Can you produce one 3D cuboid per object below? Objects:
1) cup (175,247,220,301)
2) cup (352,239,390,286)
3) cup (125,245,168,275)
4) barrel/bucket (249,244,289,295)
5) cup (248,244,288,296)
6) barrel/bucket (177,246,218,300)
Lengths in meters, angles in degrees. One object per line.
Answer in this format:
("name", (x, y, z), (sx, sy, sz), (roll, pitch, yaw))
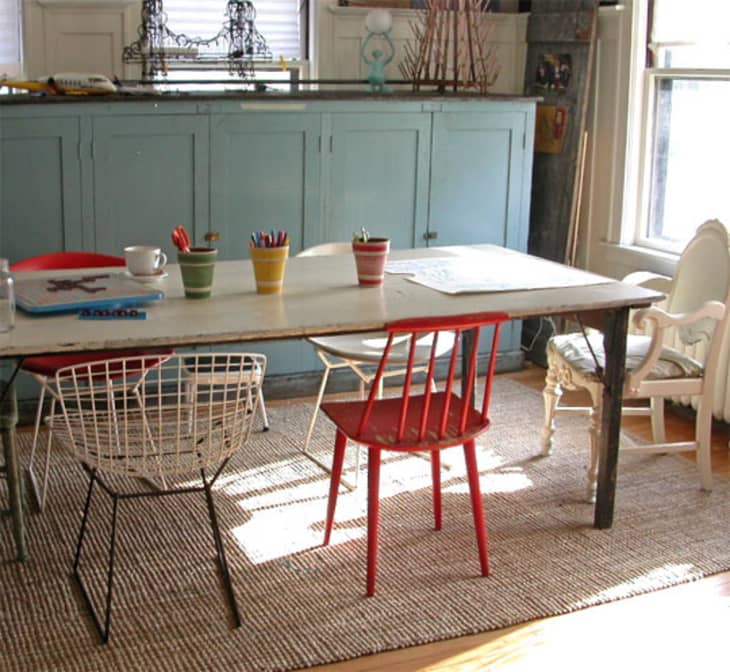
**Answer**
("cup", (-0.473, -0.166, 1.872), (0.112, 0.106, 0.110), (-1, 8, 0))
("cup", (0.032, -0.223, 2.064), (0.135, 0.125, 0.124), (3, 7, 0))
("cup", (-0.639, -0.229, 2.063), (0.151, 0.083, 0.114), (-8, 19, -31))
("barrel/bucket", (-0.275, -0.194, 1.971), (0.145, 0.132, 0.130), (0, 12, -8))
("cup", (-0.278, -0.191, 1.953), (0.126, 0.116, 0.116), (-1, 7, 0))
("barrel/bucket", (-0.428, -0.188, 1.900), (0.150, 0.136, 0.137), (1, 7, -1))
